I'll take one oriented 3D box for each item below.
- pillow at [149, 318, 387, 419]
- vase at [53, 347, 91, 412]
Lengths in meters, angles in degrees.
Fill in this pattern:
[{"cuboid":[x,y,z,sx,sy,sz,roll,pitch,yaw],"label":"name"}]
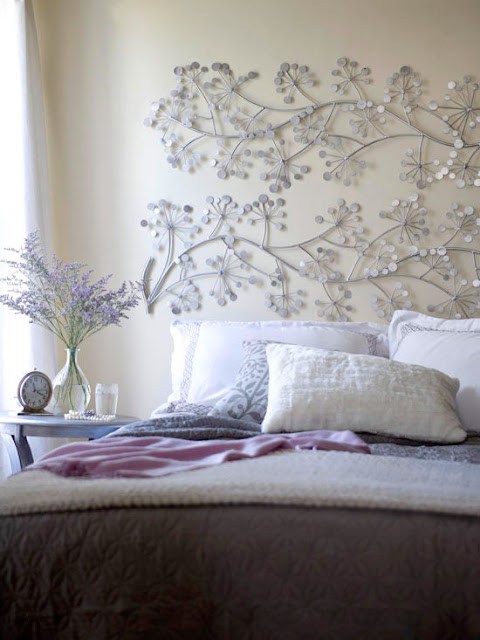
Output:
[{"cuboid":[0.015,0.128,2.403,0.756,0.201,0.421,-2,53,8],"label":"pillow"},{"cuboid":[-0.681,0.247,2.474,0.143,0.248,0.139,-12,20,-36],"label":"vase"}]
